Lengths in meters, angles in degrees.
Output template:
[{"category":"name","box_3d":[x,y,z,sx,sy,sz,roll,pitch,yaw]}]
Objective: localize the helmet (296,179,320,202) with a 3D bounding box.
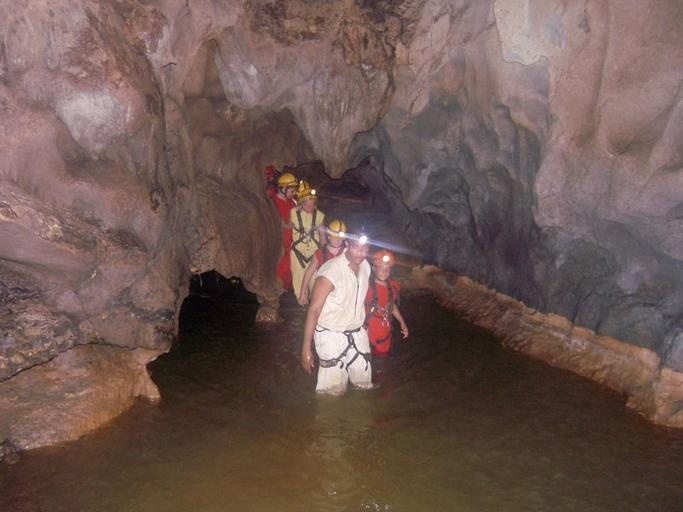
[{"category":"helmet","box_3d":[-0.486,-0.941,9.142,0.227,0.303,0.321,-1,-1,-22]}]

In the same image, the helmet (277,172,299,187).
[{"category":"helmet","box_3d":[-0.824,-1.133,9.551,0.242,0.215,0.209,0,7,32]}]

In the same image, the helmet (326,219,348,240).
[{"category":"helmet","box_3d":[-0.044,-0.331,7.763,0.234,0.253,0.205,11,16,43]}]
